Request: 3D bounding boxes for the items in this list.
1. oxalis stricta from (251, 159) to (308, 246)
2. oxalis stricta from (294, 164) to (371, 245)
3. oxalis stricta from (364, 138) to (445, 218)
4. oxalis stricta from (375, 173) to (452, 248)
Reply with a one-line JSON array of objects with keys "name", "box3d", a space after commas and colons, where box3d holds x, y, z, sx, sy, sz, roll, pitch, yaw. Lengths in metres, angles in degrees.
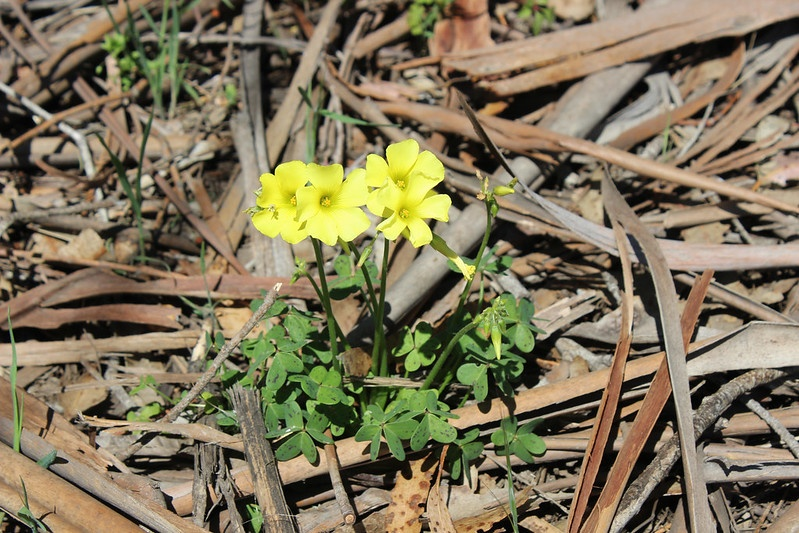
[{"name": "oxalis stricta", "box3d": [-0.635, -0.461, 4.254, 0.395, 0.349, 0.162, -30, 87, 15]}, {"name": "oxalis stricta", "box3d": [-0.377, -0.364, 4.226, 0.427, 0.178, 0.434, -38, 110, -5]}, {"name": "oxalis stricta", "box3d": [0.018, -0.468, 4.157, 0.406, 0.196, 0.445, 10, 85, -7]}, {"name": "oxalis stricta", "box3d": [0.054, -0.336, 4.252, 0.388, 0.180, 0.395, 25, 88, -16]}]
